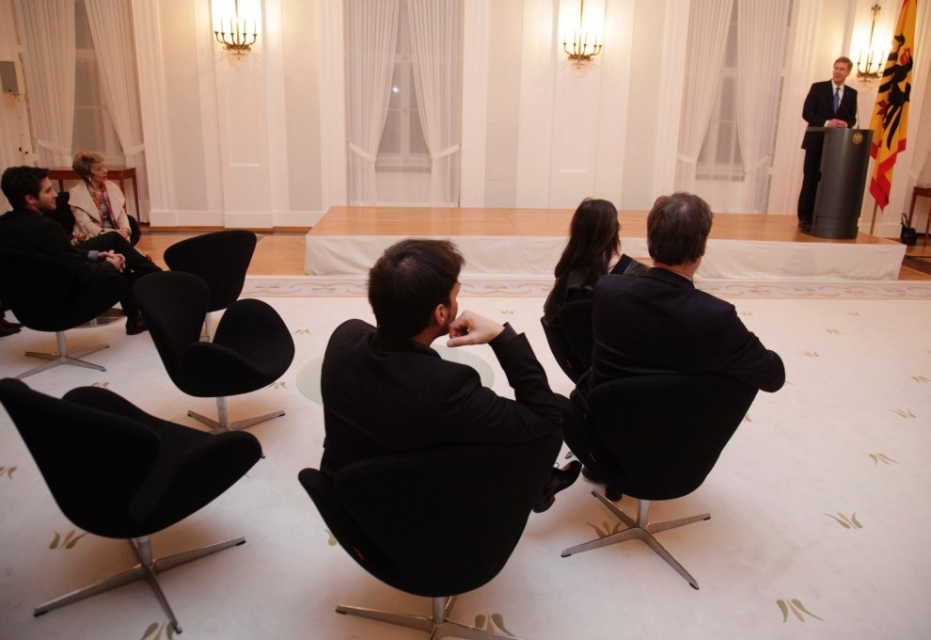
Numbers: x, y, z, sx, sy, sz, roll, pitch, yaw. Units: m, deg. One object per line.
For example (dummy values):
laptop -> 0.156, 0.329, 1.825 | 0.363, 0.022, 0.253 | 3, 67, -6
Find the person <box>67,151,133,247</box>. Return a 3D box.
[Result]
person -> -2.989, -0.988, 5.170 | 0.443, 0.727, 0.472 | 6, 22, -12

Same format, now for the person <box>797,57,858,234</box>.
person -> 3.837, -1.860, 6.744 | 0.519, 1.755, 0.825 | 9, 24, 16

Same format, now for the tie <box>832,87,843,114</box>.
tie -> 3.956, -2.348, 6.720 | 0.110, 0.244, 0.073 | 13, 26, 24
